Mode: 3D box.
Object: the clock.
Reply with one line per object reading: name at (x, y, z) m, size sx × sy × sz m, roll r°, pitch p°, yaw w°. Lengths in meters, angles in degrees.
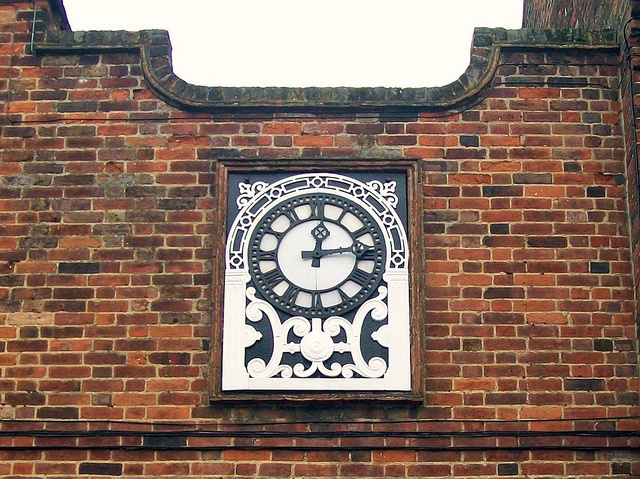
clock at (-0.020, 0.367, 21.297) m, size 1.951 × 1.911 × 1.617 m, roll 0°, pitch -54°, yaw -1°
